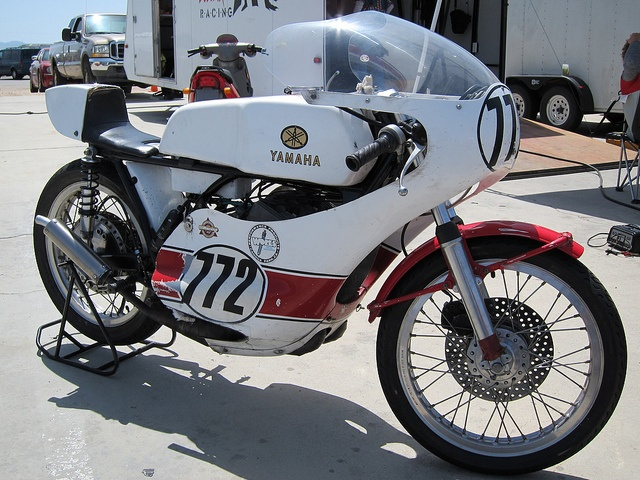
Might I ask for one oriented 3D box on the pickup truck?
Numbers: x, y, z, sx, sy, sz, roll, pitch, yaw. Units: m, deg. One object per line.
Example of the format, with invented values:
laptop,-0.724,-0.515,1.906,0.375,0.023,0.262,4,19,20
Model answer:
pickup truck,-7.182,-5.887,17.218,2.992,2.176,4.943,-12,20,-41
